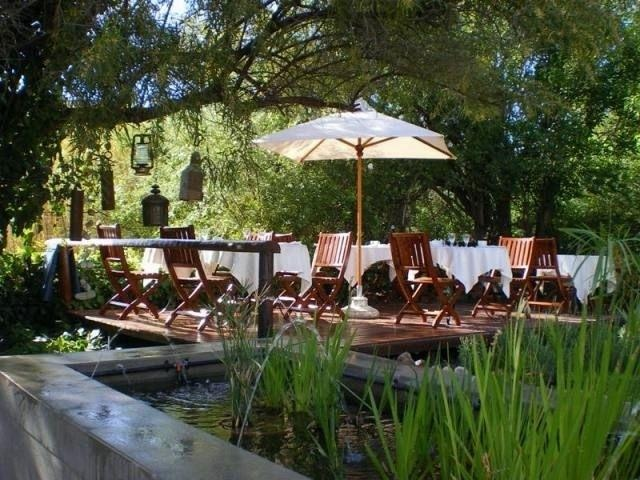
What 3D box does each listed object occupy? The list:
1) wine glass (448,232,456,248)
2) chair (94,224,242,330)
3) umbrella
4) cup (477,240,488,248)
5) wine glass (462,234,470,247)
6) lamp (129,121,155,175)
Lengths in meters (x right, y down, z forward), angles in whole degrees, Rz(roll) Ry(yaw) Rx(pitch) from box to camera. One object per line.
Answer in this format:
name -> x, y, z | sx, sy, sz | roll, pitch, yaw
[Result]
wine glass -> 1.455, -0.011, 7.321 | 0.095, 0.180, 0.105 | 1, -4, -27
chair -> -1.584, 0.336, 6.707 | 1.186, 0.998, 2.860 | 3, -4, -23
umbrella -> 0.458, -0.460, 7.130 | 1.695, 1.826, 1.646 | -1, 20, -34
cup -> 1.879, 0.035, 7.699 | 0.130, 0.124, 0.136 | -2, 2, 0
wine glass -> 1.571, 0.011, 7.074 | 0.094, 0.179, 0.100 | -2, 1, 23
lamp -> -1.521, -0.727, 5.709 | 0.169, 0.410, 0.136 | 0, -8, -16
